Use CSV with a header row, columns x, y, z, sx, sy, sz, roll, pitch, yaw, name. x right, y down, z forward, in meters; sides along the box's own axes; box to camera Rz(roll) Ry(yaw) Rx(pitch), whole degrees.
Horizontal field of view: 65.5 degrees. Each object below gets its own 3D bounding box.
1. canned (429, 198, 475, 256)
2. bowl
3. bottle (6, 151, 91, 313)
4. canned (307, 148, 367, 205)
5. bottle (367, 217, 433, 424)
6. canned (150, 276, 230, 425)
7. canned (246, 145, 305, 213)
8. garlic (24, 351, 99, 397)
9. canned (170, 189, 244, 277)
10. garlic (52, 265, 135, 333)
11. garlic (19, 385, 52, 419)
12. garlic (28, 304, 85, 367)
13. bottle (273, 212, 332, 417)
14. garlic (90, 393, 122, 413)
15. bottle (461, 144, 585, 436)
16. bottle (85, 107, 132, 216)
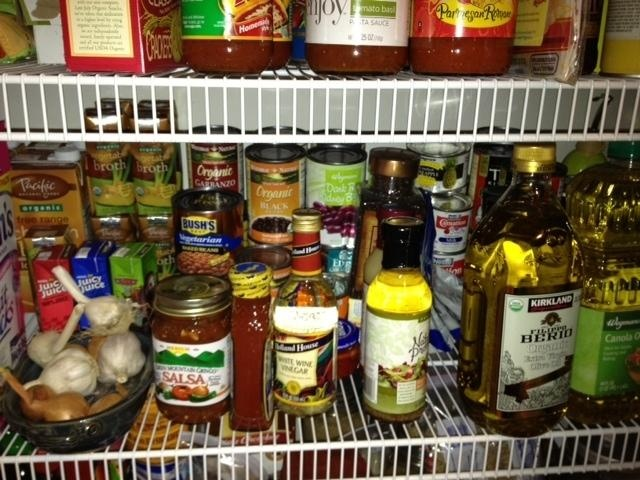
x,y,z,sx,sy,sz,roll,pitch,yaw,name
0.270,-0.031,1.058,0.068,0.128,0.074,-6,18,-18,canned
-0.376,0.255,0.827,0.170,0.141,0.165,1,18,0,bowl
-0.524,-0.012,1.048,0.122,0.336,0.139,-4,17,-11,bottle
0.033,-0.122,0.964,0.115,0.113,0.075,-3,15,-13,canned
0.138,0.140,0.859,0.151,0.329,0.149,2,5,0,bottle
-0.207,0.185,0.875,0.129,0.233,0.127,-1,14,-6,canned
-0.081,-0.114,1.037,0.149,0.141,0.133,3,35,1,canned
-0.403,0.214,0.841,0.105,0.068,0.119,-3,15,-7,garlic
-0.222,-0.017,0.977,0.115,0.171,0.098,1,10,-1,canned
-0.385,0.097,0.862,0.096,0.116,0.081,-19,31,-29,garlic
-0.441,0.247,0.775,0.040,0.039,0.059,-9,27,-13,garlic
-0.445,0.180,0.858,0.074,0.132,0.063,5,12,-33,garlic
-0.030,0.131,0.874,0.096,0.341,0.113,4,14,4,bottle
-0.339,0.258,0.788,0.028,0.018,0.034,-22,-1,-9,garlic
0.352,0.092,0.862,0.222,0.483,0.155,-4,15,-7,bottle
-0.418,-0.162,0.987,0.077,0.218,0.090,-4,25,-7,bottle
